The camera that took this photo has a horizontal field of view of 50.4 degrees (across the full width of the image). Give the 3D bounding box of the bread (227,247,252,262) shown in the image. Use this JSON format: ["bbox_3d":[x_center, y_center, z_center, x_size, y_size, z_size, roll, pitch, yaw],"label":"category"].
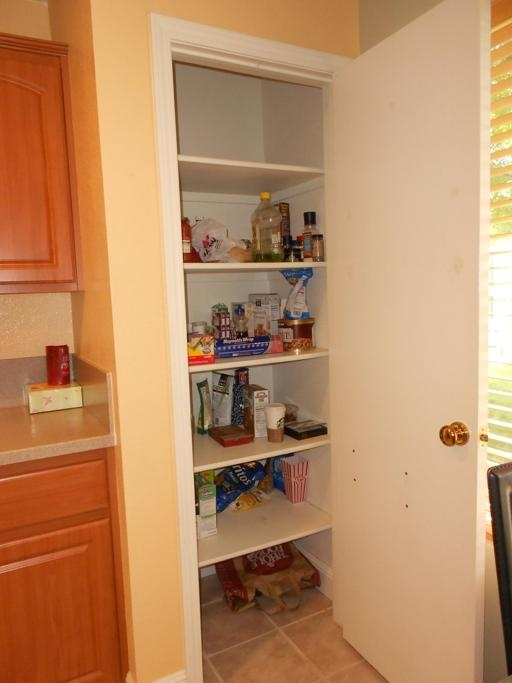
[{"bbox_3d":[-0.047,-0.310,1.891,0.053,0.029,0.073,9,20,-15],"label":"bread"}]

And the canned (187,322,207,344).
[{"bbox_3d":[-0.197,-0.027,1.811,0.058,0.105,0.055,-2,18,-18],"label":"canned"}]

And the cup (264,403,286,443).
[{"bbox_3d":[0.069,0.300,1.999,0.069,0.132,0.075,-2,7,0],"label":"cup"}]

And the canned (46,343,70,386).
[{"bbox_3d":[-0.730,0.083,2.003,0.086,0.144,0.175,-5,8,-20],"label":"canned"}]

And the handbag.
[{"bbox_3d":[0.043,0.925,2.138,0.355,0.119,0.372,-13,4,-15],"label":"handbag"}]

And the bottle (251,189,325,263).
[{"bbox_3d":[0.107,-0.399,1.969,0.263,0.230,0.195,-2,7,0],"label":"bottle"}]

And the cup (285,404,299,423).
[{"bbox_3d":[0.140,0.290,2.172,0.055,0.056,0.048,3,-2,-35],"label":"cup"}]

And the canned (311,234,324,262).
[{"bbox_3d":[0.220,-0.330,1.923,0.043,0.092,0.035,-1,7,6],"label":"canned"}]
